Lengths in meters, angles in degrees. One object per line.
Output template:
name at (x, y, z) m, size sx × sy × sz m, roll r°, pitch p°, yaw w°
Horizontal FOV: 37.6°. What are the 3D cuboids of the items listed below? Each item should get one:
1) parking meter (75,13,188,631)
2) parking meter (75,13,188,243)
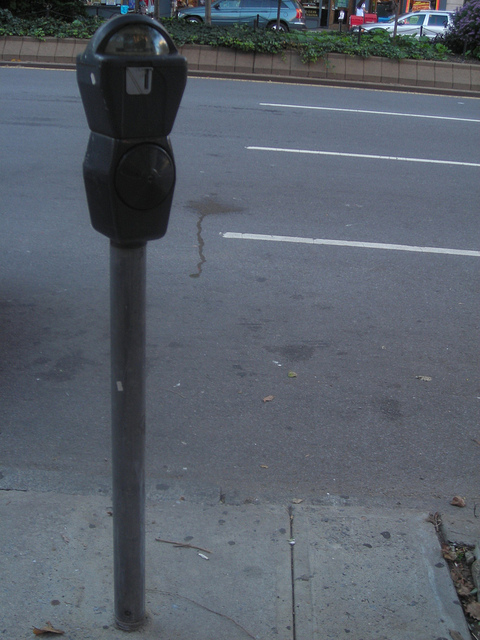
parking meter at (-0.311, 0.100, 1.777) m, size 0.241 × 1.618 × 0.187 m, roll 3°, pitch 20°, yaw -10°
parking meter at (-0.255, -0.435, 1.637) m, size 0.245 × 0.490 × 0.207 m, roll -10°, pitch 25°, yaw -31°
